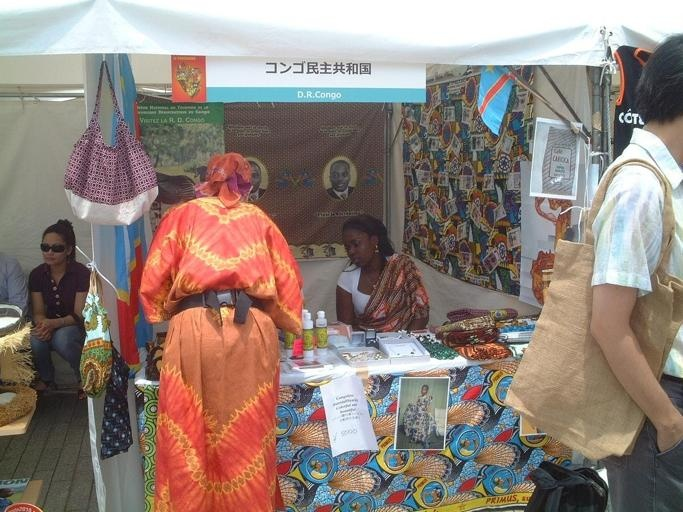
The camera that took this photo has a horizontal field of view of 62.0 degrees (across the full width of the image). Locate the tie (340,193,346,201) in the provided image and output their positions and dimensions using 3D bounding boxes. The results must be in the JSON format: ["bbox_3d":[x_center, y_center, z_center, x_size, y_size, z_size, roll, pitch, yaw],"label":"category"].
[{"bbox_3d":[0.015,-0.555,5.408,0.065,0.066,0.017,0,6,-13],"label":"tie"}]

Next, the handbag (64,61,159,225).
[{"bbox_3d":[-1.136,-0.552,2.822,0.336,0.845,0.349,3,8,21],"label":"handbag"}]

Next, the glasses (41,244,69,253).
[{"bbox_3d":[-2.482,-0.060,4.928,0.203,0.086,0.088,-5,9,-27],"label":"glasses"}]

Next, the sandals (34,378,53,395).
[{"bbox_3d":[-2.678,1.174,5.147,0.087,0.111,0.275,6,-15,-13],"label":"sandals"}]

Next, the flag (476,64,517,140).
[{"bbox_3d":[0.805,-0.793,2.908,0.218,0.325,0.164,-1,8,-6],"label":"flag"}]

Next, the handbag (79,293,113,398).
[{"bbox_3d":[-1.217,0.437,2.828,0.135,0.503,0.207,-1,8,-6],"label":"handbag"}]

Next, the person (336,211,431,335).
[{"bbox_3d":[0.322,0.157,4.406,0.558,0.968,0.671,11,-27,-37],"label":"person"}]
